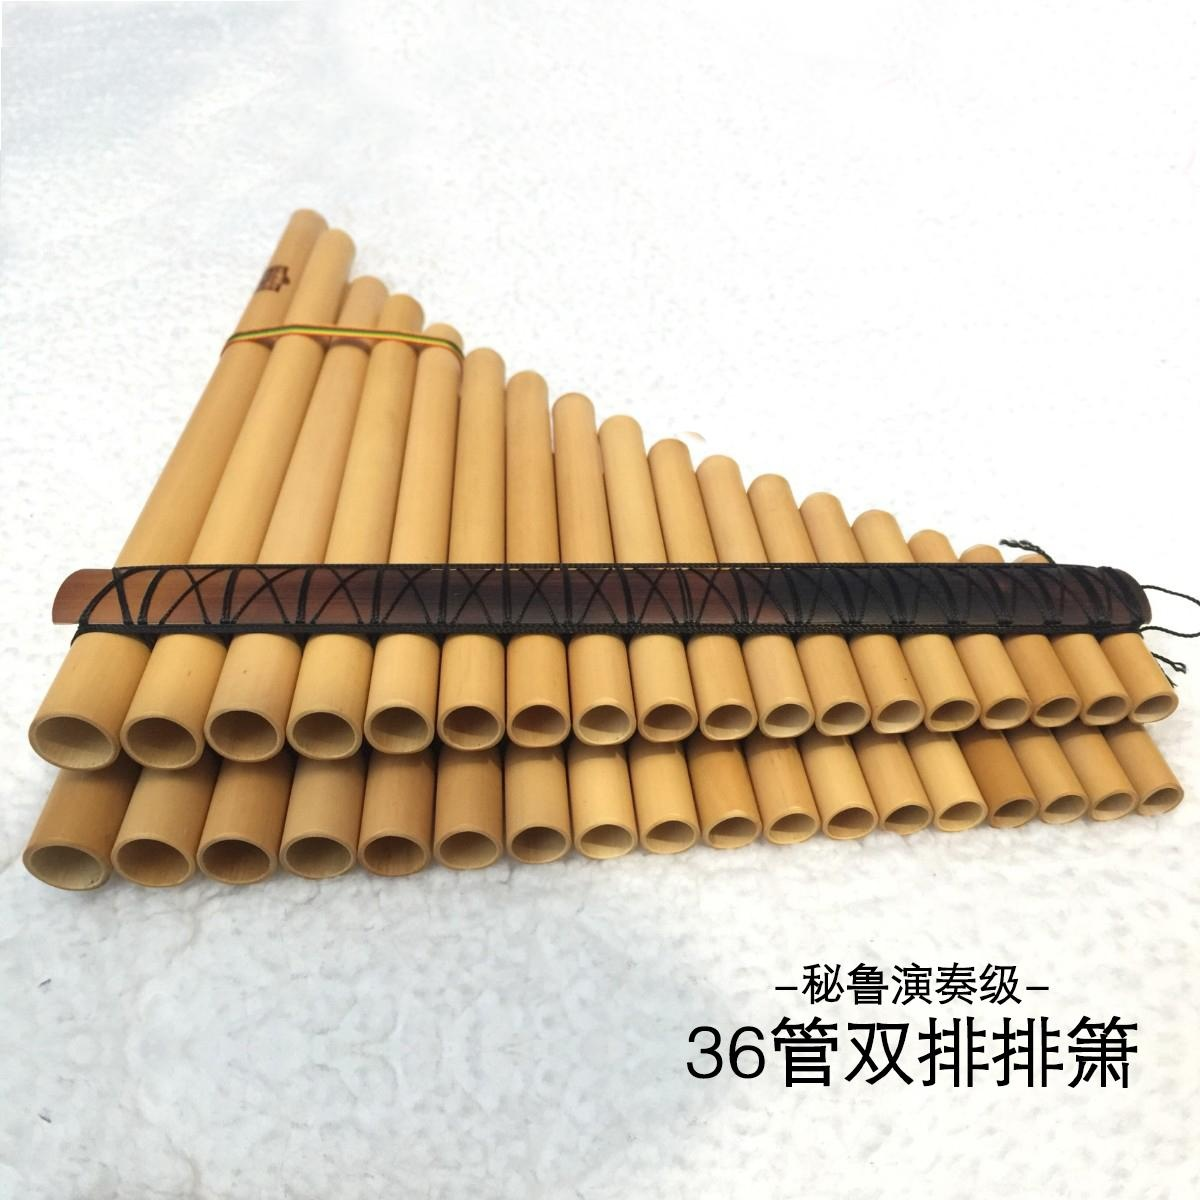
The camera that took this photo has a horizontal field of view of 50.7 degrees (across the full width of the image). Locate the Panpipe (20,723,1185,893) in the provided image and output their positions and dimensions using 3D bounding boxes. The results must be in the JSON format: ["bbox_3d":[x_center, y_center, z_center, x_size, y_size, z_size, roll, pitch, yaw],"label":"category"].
[{"bbox_3d":[-0.055,0.390,2.410,1.966,0.242,0.211,-2,59,-5],"label":"Panpipe"}]
